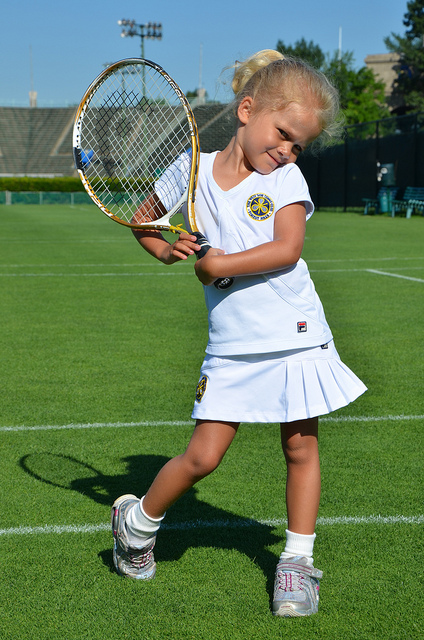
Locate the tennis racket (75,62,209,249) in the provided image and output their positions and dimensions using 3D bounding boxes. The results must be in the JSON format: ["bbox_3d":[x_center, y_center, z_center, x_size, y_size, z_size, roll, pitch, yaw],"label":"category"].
[{"bbox_3d":[-0.175,-0.672,2.836,0.401,0.104,1.355,-22,-23,-1],"label":"tennis racket"}]

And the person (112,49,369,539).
[{"bbox_3d":[0.053,0.000,1.716,0.730,1.411,0.518,-1,-13,17],"label":"person"}]
